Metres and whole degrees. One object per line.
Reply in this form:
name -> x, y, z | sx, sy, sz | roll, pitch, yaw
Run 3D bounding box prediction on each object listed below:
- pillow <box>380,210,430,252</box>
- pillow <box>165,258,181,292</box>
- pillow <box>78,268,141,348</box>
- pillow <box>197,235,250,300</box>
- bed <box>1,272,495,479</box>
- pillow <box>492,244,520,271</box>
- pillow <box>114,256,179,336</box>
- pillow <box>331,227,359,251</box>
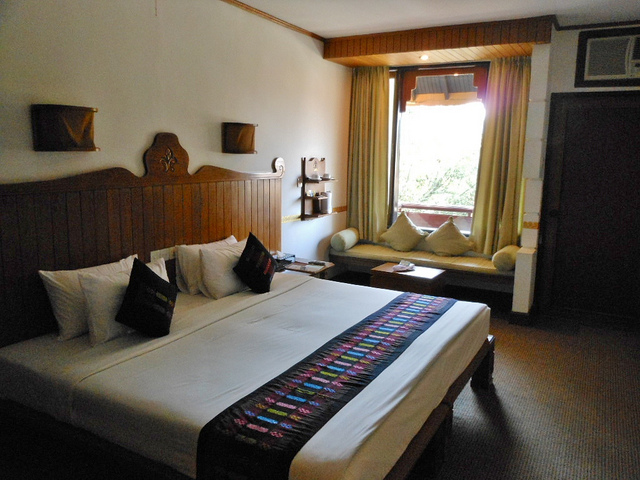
pillow -> 1.160, -0.140, 6.720 | 0.611, 0.505, 0.364 | 10, 17, 39
pillow -> -1.338, 0.291, 4.333 | 0.095, 0.254, 0.244 | -5, -1, 31
pillow -> -1.518, 0.481, 3.539 | 0.260, 0.476, 0.595 | 15, 5, 13
pillow -> -0.871, 0.266, 4.517 | 0.295, 0.477, 0.809 | 12, 10, 19
bed -> -0.434, 0.867, 2.993 | 1.648, 0.481, 1.794 | 6, 12, 28
pillow -> 2.233, 0.222, 5.754 | 0.232, 0.244, 0.358 | 1, 15, 42
pillow -> -1.231, 0.445, 3.528 | 0.137, 0.456, 0.491 | -16, -36, 26
pillow -> 0.370, -0.022, 6.696 | 0.229, 0.264, 0.526 | 0, 12, 26
